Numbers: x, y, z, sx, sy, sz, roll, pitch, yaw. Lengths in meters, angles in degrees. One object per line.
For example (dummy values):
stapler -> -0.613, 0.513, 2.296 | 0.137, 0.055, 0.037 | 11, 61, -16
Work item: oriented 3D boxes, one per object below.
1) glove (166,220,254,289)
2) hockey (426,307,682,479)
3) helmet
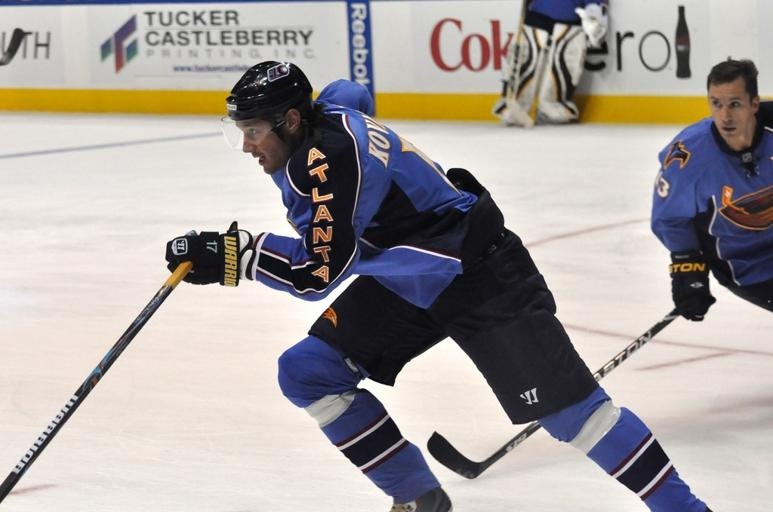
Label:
glove -> -0.550, 0.004, 2.798 | 0.303, 0.158, 0.127 | 3, 5, 5
hockey -> 0.567, 0.509, 3.031 | 0.911, 0.094, 0.130 | -36, 50, -6
helmet -> -0.358, -0.494, 2.639 | 0.247, 0.199, 0.186 | -6, 5, -19
